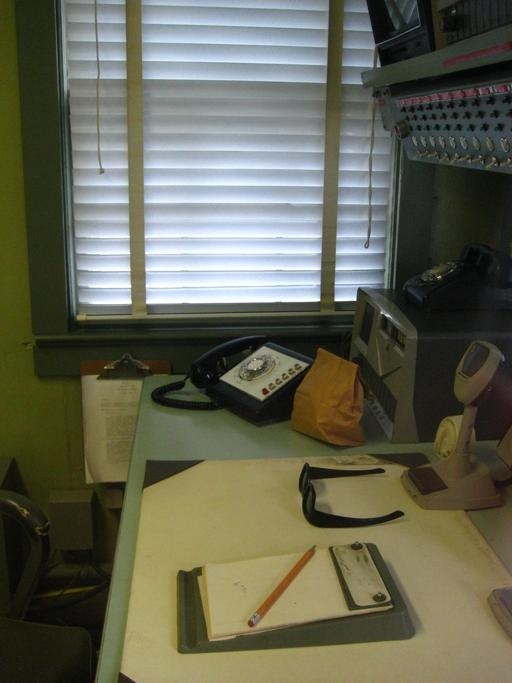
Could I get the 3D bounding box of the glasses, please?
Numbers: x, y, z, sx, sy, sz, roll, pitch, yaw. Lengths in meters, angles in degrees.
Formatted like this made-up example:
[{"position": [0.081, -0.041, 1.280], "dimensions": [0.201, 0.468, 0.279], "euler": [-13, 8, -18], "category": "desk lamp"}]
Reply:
[{"position": [0.146, 0.263, 0.985], "dimensions": [0.107, 0.032, 0.105], "euler": [1, 13, -2], "category": "glasses"}]
